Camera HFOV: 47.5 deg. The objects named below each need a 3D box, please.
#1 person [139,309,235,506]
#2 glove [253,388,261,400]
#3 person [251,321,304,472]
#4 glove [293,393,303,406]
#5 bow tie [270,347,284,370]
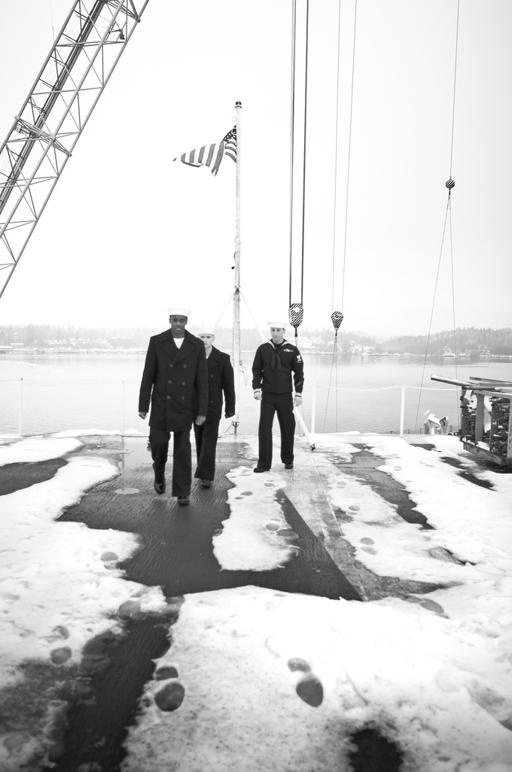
[{"bbox_3d":[-0.681,0.165,4.924,0.645,1.554,0.657,1,2,-29],"label":"person"},{"bbox_3d":[0.002,0.087,6.280,0.069,0.100,0.098,-13,-2,2],"label":"glove"},{"bbox_3d":[0.208,0.102,6.257,0.526,1.512,0.900,2,2,7],"label":"person"},{"bbox_3d":[0.451,0.143,6.391,0.054,0.134,0.085,3,3,-21],"label":"glove"},{"bbox_3d":[0.209,-0.292,6.234,0.107,0.220,0.086,2,2,-1],"label":"bow tie"}]
